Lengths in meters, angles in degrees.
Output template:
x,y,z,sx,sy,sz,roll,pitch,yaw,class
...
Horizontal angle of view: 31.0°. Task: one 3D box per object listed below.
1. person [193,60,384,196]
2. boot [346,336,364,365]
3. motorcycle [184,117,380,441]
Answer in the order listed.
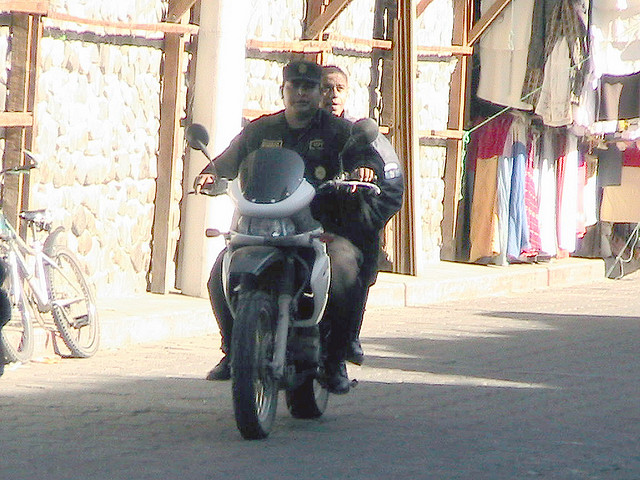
x,y,z,sx,sy,sz,roll,pitch,yaw,class
-0.208,-0.584,7.611,1.109,1.249,0.723,4,-13,16,person
0.241,0.763,7.824,0.106,0.205,0.191,-2,-12,4,boot
-0.258,0.246,7.314,0.949,2.008,0.661,0,2,-23,motorcycle
